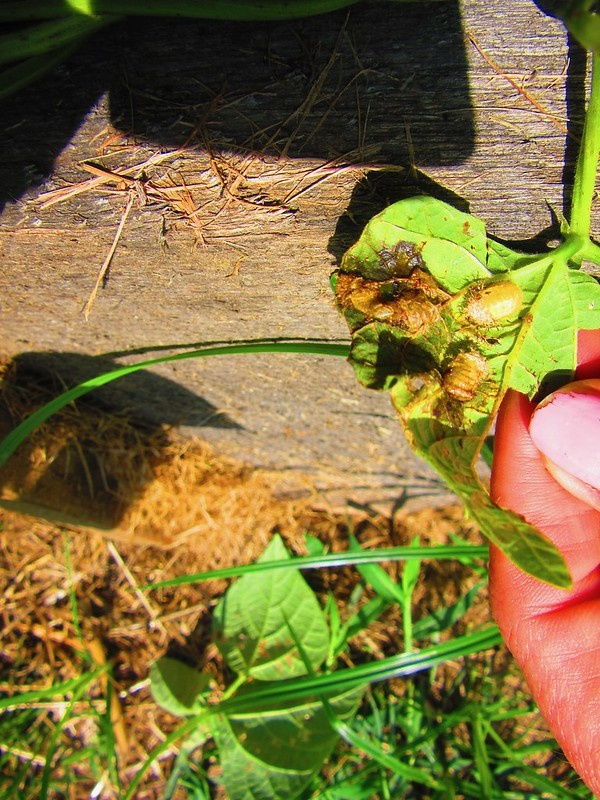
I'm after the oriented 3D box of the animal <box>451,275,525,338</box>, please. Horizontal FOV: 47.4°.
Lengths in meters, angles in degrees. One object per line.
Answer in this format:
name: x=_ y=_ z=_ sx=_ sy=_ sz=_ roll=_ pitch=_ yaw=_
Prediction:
animal: x=0.282 y=-0.141 z=1.033 sx=0.101 sy=0.080 sz=0.035 roll=-37 pitch=1 yaw=22
